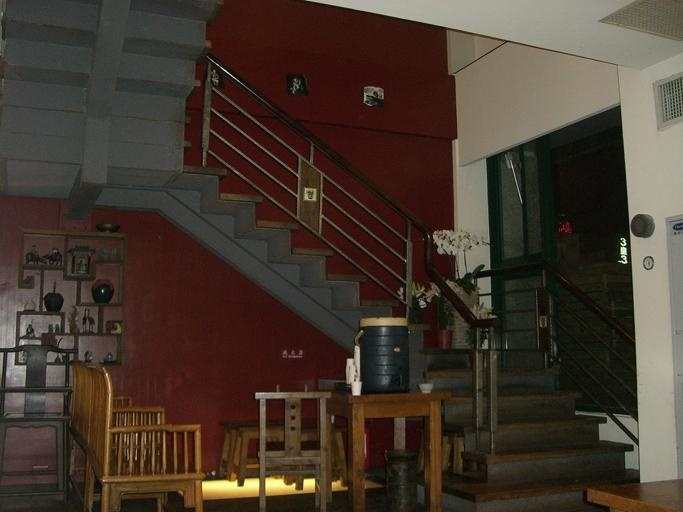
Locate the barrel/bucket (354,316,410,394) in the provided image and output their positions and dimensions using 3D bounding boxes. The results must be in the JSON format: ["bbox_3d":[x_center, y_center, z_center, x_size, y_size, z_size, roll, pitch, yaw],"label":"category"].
[{"bbox_3d":[0.361,0.875,6.799,0.491,0.804,0.582,-1,-6,12],"label":"barrel/bucket"}]

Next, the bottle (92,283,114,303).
[{"bbox_3d":[-2.578,0.412,8.237,0.188,0.211,0.204,3,-6,-8],"label":"bottle"}]

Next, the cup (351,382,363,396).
[{"bbox_3d":[0.123,1.099,6.350,0.091,0.130,0.095,1,2,0],"label":"cup"}]

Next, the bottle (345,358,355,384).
[{"bbox_3d":[0.076,0.973,6.437,0.065,0.214,0.186,-1,-11,-6],"label":"bottle"}]

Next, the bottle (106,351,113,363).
[{"bbox_3d":[-2.528,1.099,8.274,0.072,0.143,0.078,1,-9,0],"label":"bottle"}]

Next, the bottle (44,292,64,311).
[{"bbox_3d":[-3.061,0.493,8.133,0.170,0.190,0.184,-1,-8,19],"label":"bottle"}]
